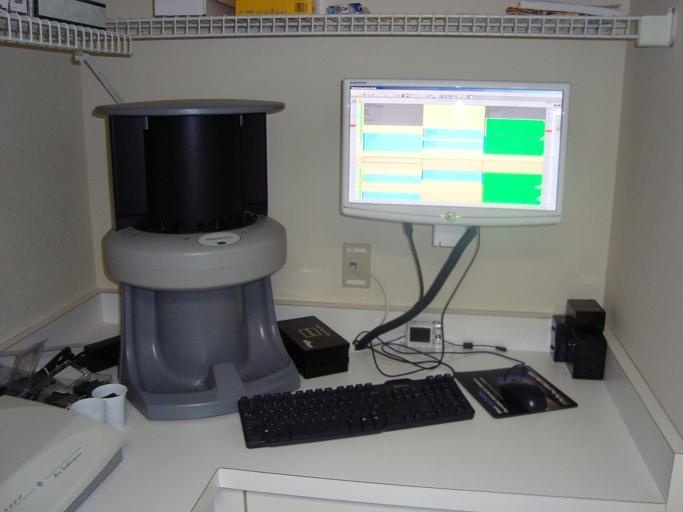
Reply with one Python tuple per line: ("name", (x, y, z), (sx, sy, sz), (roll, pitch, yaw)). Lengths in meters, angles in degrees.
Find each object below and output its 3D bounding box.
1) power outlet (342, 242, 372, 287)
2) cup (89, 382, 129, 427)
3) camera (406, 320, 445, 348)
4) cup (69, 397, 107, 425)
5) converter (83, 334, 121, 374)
("power outlet", (0.049, 0.021, 1.779), (0.126, 0.194, 0.020), (1, 8, 4))
("cup", (-0.547, 0.347, 1.354), (0.089, 0.095, 0.087), (5, 17, -2))
("camera", (0.243, 0.236, 1.699), (0.112, 0.089, 0.067), (3, -6, 3))
("cup", (-0.579, 0.348, 1.308), (0.069, 0.066, 0.054), (7, 12, -15))
("converter", (-0.671, 0.278, 1.601), (0.049, 0.088, 0.098), (7, 15, 37))
